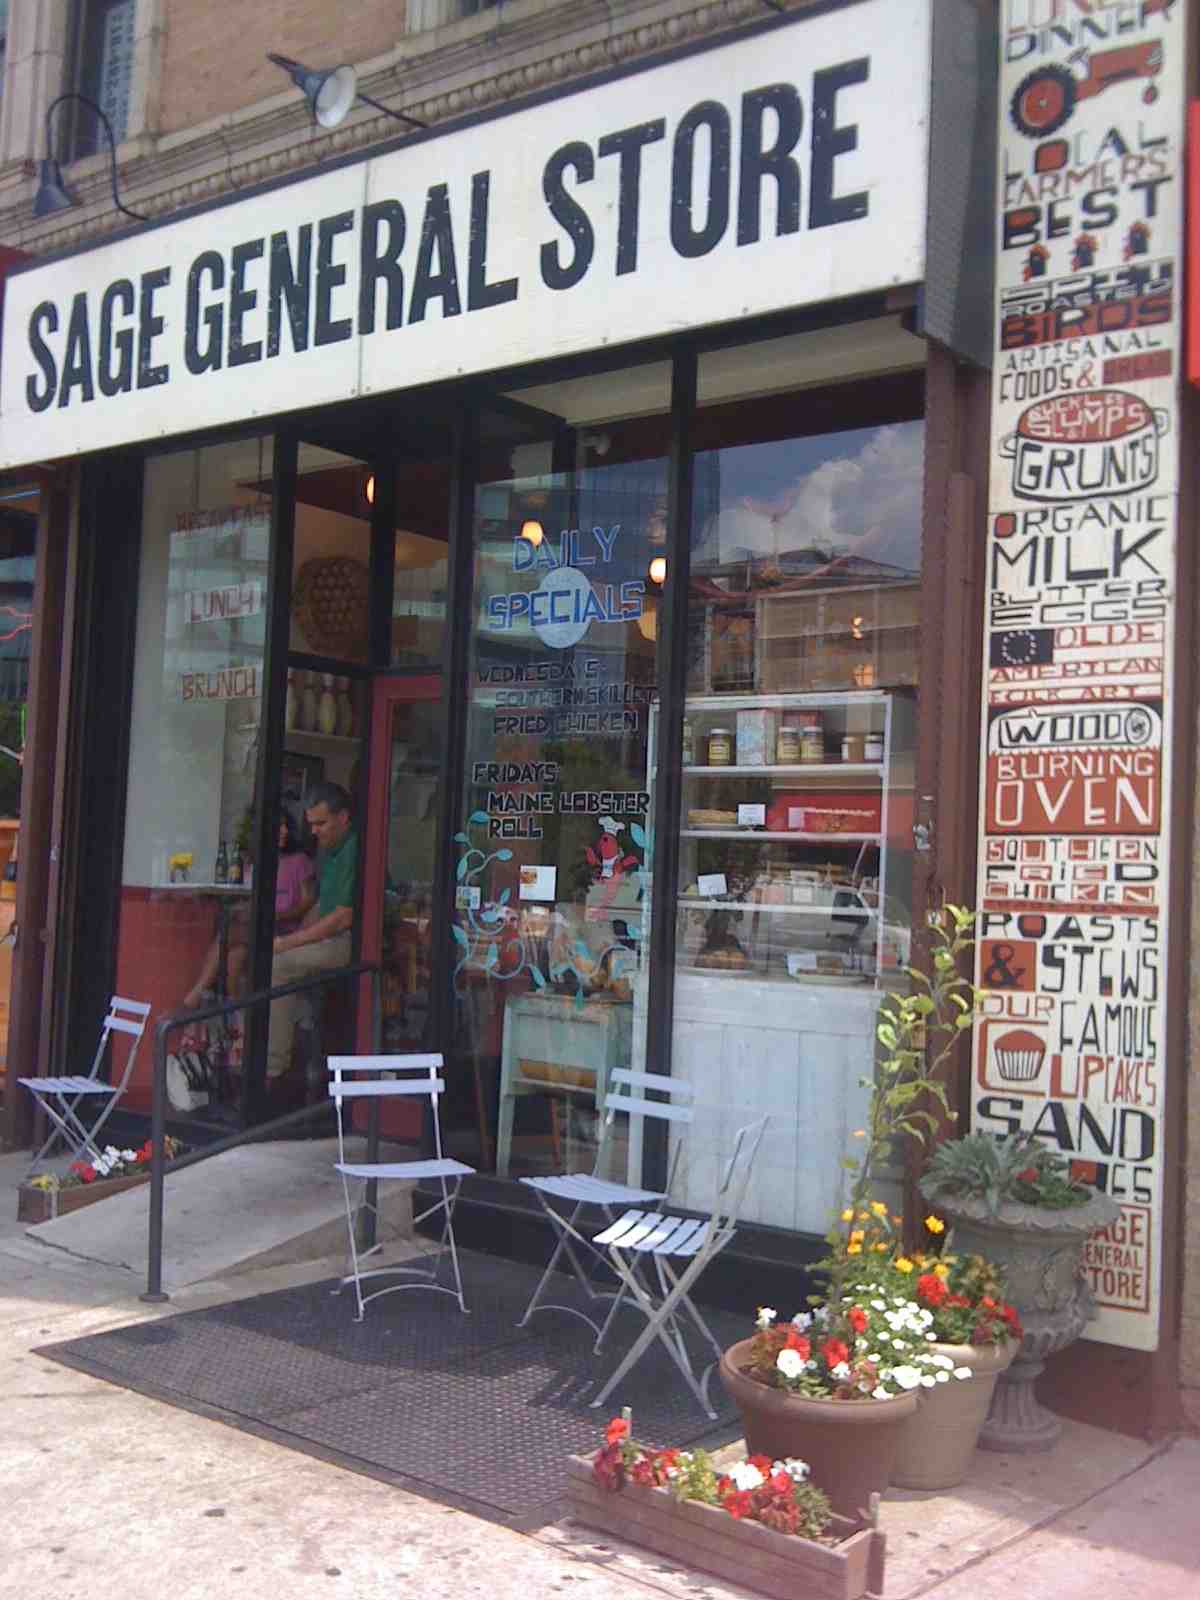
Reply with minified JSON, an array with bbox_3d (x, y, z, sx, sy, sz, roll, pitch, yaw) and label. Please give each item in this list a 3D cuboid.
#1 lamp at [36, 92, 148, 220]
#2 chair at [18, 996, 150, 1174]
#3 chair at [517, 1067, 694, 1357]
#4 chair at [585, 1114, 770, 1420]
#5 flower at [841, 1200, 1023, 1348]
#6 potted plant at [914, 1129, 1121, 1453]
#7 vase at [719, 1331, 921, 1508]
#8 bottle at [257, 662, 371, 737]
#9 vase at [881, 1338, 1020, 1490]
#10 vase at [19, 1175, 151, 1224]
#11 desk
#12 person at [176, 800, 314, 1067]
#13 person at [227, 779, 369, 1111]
[{"bbox_3d":[-2.740,-3.549,8.287,0.240,0.578,0.662,28,32,36],"label":"lamp"},{"bbox_3d":[-2.349,1.324,6.867,0.489,0.771,0.444,-1,3,-39],"label":"chair"},{"bbox_3d":[0.017,1.390,5.170,0.492,0.803,0.555,4,6,33],"label":"chair"},{"bbox_3d":[0.267,1.323,4.579,0.533,0.804,1.477,2,-3,1],"label":"chair"},{"bbox_3d":[0.808,1.209,3.803,0.381,0.245,0.435,6,-4,-4],"label":"flower"},{"bbox_3d":[1.070,1.328,4.056,0.503,0.795,0.528,0,-16,8],"label":"potted plant"},{"bbox_3d":[0.446,1.371,3.384,0.357,0.231,0.363,-13,-43,25],"label":"vase"},{"bbox_3d":[-1.315,-0.470,7.203,0.303,0.303,0.311,2,3,23],"label":"bottle"},{"bbox_3d":[0.838,1.499,3.787,0.372,0.406,0.365,1,-6,-1],"label":"vase"},{"bbox_3d":[-2.111,1.652,6.181,0.500,0.162,0.238,4,-3,-22],"label":"vase"},{"bbox_3d":[-0.143,1.123,6.032,0.548,0.709,0.539,5,3,0],"label":"desk"},{"bbox_3d":[-1.702,0.652,7.235,0.515,1.340,0.747,-2,-5,41],"label":"person"},{"bbox_3d":[-1.382,0.635,7.161,0.224,1.421,0.481,0,-4,37],"label":"person"}]
